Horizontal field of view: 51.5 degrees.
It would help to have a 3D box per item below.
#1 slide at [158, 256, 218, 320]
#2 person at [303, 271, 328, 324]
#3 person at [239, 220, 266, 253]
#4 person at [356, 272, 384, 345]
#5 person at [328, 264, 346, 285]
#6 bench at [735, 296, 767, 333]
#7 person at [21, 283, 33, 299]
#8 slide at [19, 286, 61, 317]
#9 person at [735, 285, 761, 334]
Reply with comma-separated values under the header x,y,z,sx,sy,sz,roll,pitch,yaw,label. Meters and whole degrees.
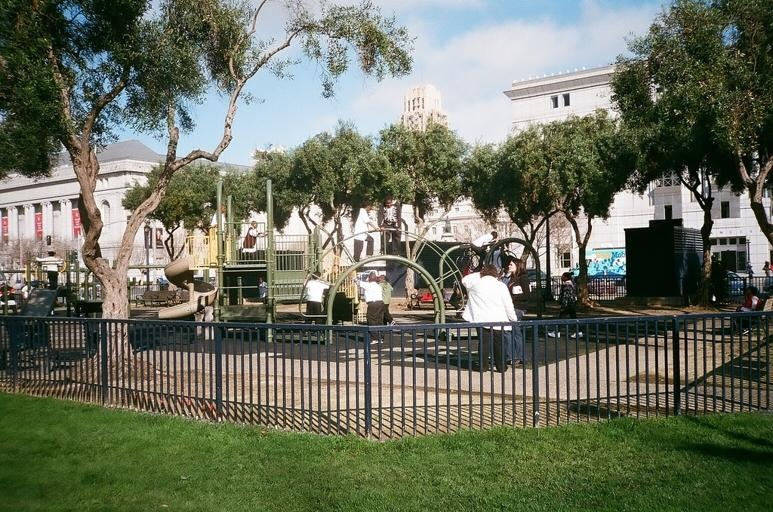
x,y,z,sx,sy,sz,roll,pitch,yaw,label
-6.822,1.064,27.570,1.615,2.190,4.007,1,-5,-15,slide
-2.205,1.282,25.310,0.685,1.619,2.289,0,-5,-6,person
-4.524,-0.576,26.741,0.984,1.464,1.090,-2,3,0,person
-0.387,1.247,23.406,0.648,1.488,1.477,0,-5,-1,person
-1.765,0.514,27.484,0.703,0.713,0.582,1,-5,-12,person
8.653,1.345,18.961,0.815,1.053,0.710,-2,-3,11,bench
-15.694,1.500,34.980,0.552,0.789,0.223,10,3,-8,person
-10.976,1.427,25.352,0.968,0.871,1.692,2,-6,-20,slide
10.853,1.573,24.118,0.683,1.427,0.639,3,9,15,person
